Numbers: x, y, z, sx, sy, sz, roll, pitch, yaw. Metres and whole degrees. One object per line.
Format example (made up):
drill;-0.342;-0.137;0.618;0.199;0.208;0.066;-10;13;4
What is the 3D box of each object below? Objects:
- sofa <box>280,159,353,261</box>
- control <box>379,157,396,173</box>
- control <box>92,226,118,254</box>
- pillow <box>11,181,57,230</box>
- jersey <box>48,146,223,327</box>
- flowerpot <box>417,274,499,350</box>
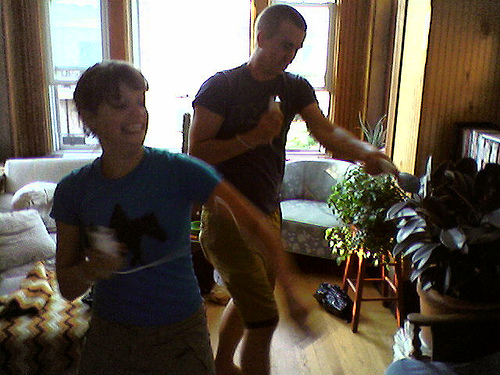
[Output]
sofa;0.568;0.162;3.926;0.894;0.777;0.890;5;26;13
control;0.635;-0.101;1.900;0.072;0.019;0.069;26;21;-18
control;-0.445;0.162;1.266;0.065;0.078;0.082;-3;7;-21
pillow;-1.583;0.144;3.011;0.406;0.390;0.299;-1;1;-43
jersey;-0.379;0.161;1.357;0.549;0.557;0.286;-3;10;-1
flowerpot;0.981;0.542;1.974;0.347;0.266;0.352;-4;10;-22
